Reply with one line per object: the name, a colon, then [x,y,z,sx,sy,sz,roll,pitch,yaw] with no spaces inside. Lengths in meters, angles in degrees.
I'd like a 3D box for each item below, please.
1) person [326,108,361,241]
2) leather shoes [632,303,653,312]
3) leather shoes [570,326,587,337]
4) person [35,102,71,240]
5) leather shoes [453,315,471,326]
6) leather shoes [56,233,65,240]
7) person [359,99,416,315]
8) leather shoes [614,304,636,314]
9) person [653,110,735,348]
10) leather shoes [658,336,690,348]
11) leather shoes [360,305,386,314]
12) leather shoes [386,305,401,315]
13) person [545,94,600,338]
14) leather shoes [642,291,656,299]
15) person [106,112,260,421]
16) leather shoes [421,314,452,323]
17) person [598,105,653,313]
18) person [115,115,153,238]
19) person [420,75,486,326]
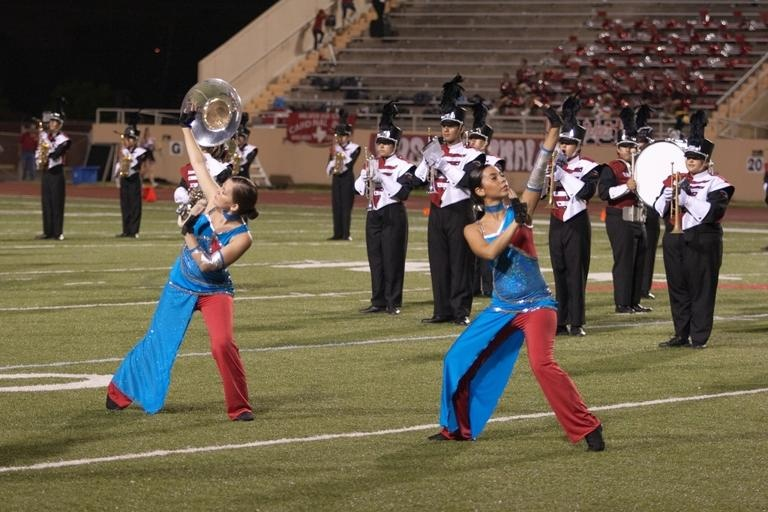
person: [-0.804,-1.510,27.163,0.825,2.583,0.766,1,8,0]
leather shoes: [3.504,0.745,19.046,0.343,0.130,0.110,-2,7,-5]
leather shoes: [2.425,0.992,17.514,0.166,0.145,0.112,7,-9,-20]
person: [-6.059,-1.420,25.404,0.746,2.315,0.720,4,3,44]
leather shoes: [1.011,0.873,18.108,0.096,0.101,0.242,-1,-5,42]
leather shoes: [-5.897,-0.318,25.359,0.137,0.146,0.390,0,0,-4]
person: [-0.071,-0.618,18.853,0.842,2.862,0.860,2,-1,-24]
leather shoes: [3.253,0.763,18.897,0.264,0.169,0.101,-1,2,28]
person: [3.639,-0.151,16.655,1.122,2.464,0.762,2,1,34]
leather shoes: [3.490,1.080,16.896,0.376,0.134,0.142,1,0,1]
leather shoes: [-0.148,0.751,18.704,0.354,0.133,0.112,1,0,-14]
leather shoes: [0.124,0.757,18.650,0.192,0.103,0.187,-1,13,-6]
person: [2.247,-0.481,17.737,1.026,2.892,0.743,2,1,39]
leather shoes: [3.824,0.619,20.232,0.087,0.096,0.255,-1,-6,0]
person: [-1.990,0.293,14.225,1.409,2.711,0.974,-1,14,-6]
leather shoes: [0.668,0.864,18.170,0.423,0.154,0.135,2,0,-5]
person: [3.390,-0.544,18.820,0.907,2.542,0.922,0,2,-11]
person: [-4.955,-1.448,27.054,0.873,2.300,0.795,5,3,25]
person: [0.819,-0.652,18.116,0.838,3.263,0.994,-2,3,-25]
